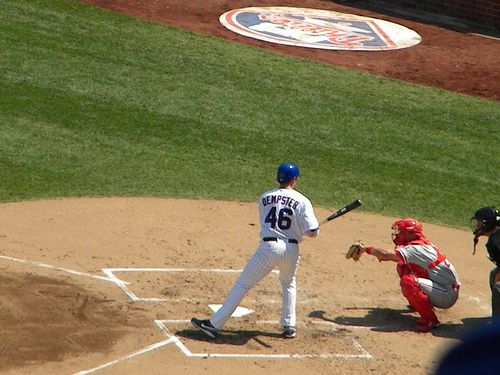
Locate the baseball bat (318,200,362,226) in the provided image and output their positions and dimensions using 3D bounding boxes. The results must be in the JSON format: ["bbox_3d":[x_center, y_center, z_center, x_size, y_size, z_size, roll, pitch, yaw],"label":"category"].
[{"bbox_3d":[1.919,0.612,28.168,0.903,0.102,0.103,-33,3,4],"label":"baseball bat"}]

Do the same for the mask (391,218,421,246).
[{"bbox_3d":[3.199,0.888,26.226,0.634,0.590,0.565,-1,13,21],"label":"mask"}]

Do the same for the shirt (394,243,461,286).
[{"bbox_3d":[3.474,1.555,25.903,1.093,0.835,1.280,24,17,29],"label":"shirt"}]
